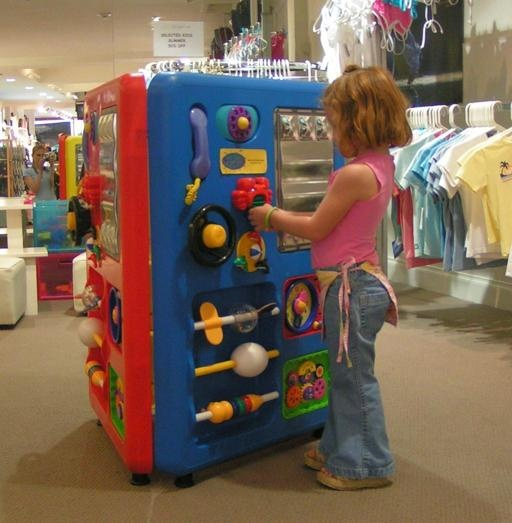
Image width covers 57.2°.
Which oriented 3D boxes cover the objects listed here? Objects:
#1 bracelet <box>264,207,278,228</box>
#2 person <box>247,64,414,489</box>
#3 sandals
[{"bbox_3d":[0.044,-0.142,1.487,0.020,0.056,0.049,5,41,3],"label":"bracelet"},{"bbox_3d":[0.263,0.087,1.505,0.427,1.348,0.329,1,5,20],"label":"person"},{"bbox_3d":[0.306,0.708,1.584,0.191,0.094,0.122,5,6,-3],"label":"sandals"}]
